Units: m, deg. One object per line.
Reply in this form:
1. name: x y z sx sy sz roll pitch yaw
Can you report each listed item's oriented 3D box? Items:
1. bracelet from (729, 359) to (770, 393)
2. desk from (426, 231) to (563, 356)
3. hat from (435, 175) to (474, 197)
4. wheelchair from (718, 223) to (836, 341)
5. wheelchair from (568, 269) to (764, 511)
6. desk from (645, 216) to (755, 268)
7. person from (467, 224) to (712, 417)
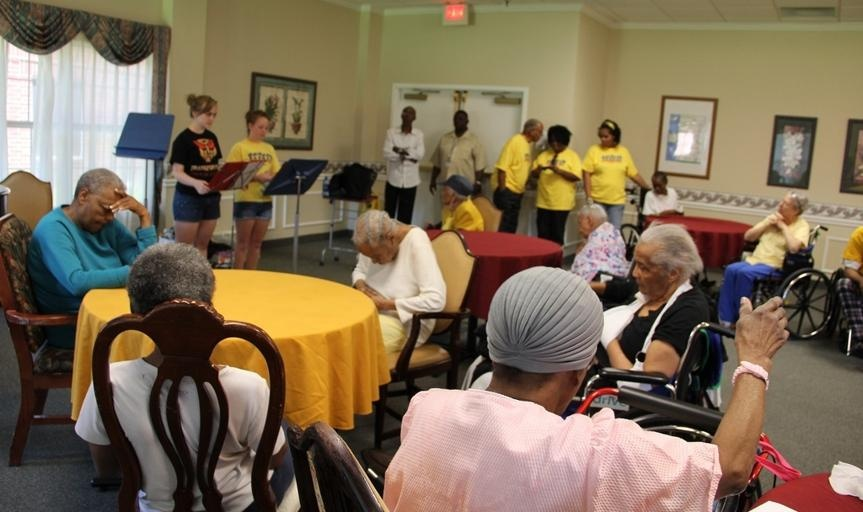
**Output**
1. bracelet: 1.173 0.439 2.297 0.115 0.105 0.062 1 -6 17
2. desk: 0.595 0.122 6.032 1.509 0.569 1.553 5 11 -4
3. hat: 0.260 -0.726 6.301 0.289 0.119 0.206 23 12 5
4. wheelchair: 3.931 0.237 6.682 0.824 1.017 0.683 8 15 27
5. wheelchair: 0.909 0.449 2.459 0.720 0.808 0.547 11 10 33
6. desk: 3.280 -0.186 7.267 1.007 0.389 0.999 1 3 13
7. person: 1.354 0.471 3.817 0.861 1.078 0.736 29 -19 -34
